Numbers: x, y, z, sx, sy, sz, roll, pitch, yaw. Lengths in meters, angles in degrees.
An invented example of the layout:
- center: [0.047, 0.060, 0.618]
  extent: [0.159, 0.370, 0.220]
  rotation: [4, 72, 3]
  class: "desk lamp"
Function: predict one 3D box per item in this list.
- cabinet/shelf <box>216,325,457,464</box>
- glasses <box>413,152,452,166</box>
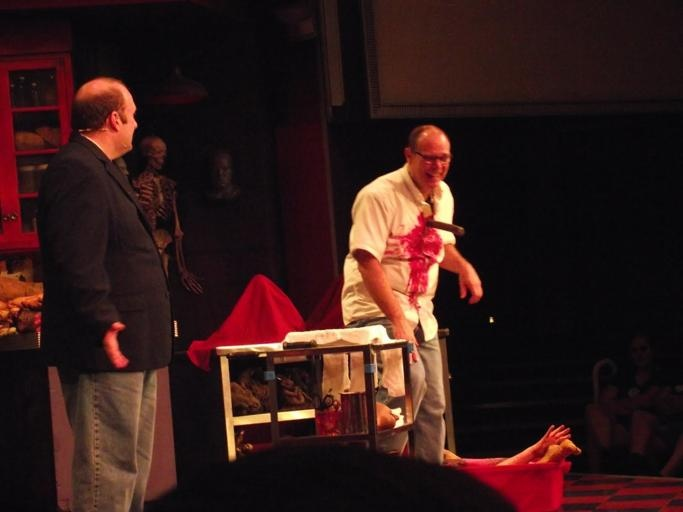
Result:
- center: [-0.110, 0.745, 3.430]
  extent: [0.914, 0.912, 0.785]
  rotation: [-6, -12, 17]
  class: "cabinet/shelf"
- center: [0.451, -0.488, 3.531]
  extent: [0.183, 0.064, 0.061]
  rotation: [-7, -1, -13]
  class: "glasses"
